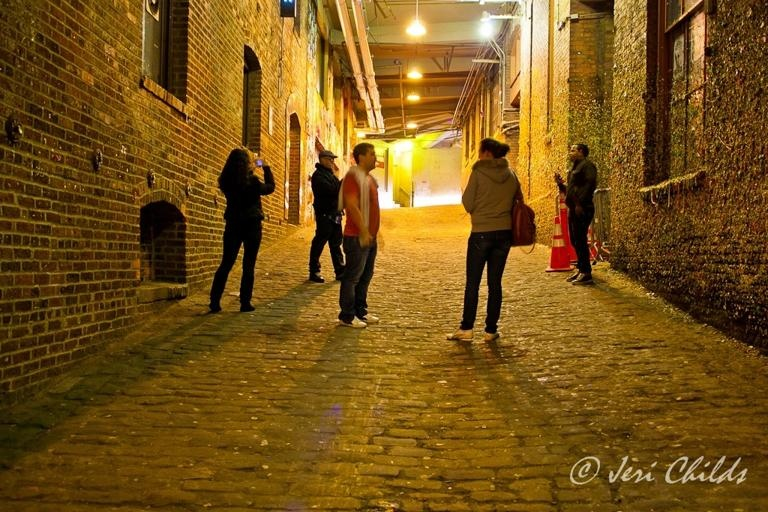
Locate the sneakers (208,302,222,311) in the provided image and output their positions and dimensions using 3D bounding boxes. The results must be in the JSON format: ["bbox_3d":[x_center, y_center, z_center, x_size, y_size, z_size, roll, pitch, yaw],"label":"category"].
[{"bbox_3d":[-2.331,0.699,7.834,0.137,0.112,0.125,1,-3,-4],"label":"sneakers"}]

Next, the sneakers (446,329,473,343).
[{"bbox_3d":[0.926,0.978,6.938,0.297,0.113,0.137,3,2,15],"label":"sneakers"}]

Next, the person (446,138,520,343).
[{"bbox_3d":[1.223,-0.065,6.913,0.827,2.192,0.504,-1,13,-3],"label":"person"}]

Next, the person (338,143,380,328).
[{"bbox_3d":[-0.345,-0.256,7.362,0.532,2.356,0.729,0,13,4],"label":"person"}]

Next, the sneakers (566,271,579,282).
[{"bbox_3d":[3.181,0.364,9.599,0.121,0.127,0.341,4,0,-19],"label":"sneakers"}]

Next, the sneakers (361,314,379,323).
[{"bbox_3d":[-0.195,0.848,7.661,0.210,0.075,0.106,0,-1,14],"label":"sneakers"}]

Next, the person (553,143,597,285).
[{"bbox_3d":[3.262,-0.705,9.427,0.448,2.257,0.710,1,13,4],"label":"person"}]

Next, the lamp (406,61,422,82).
[{"bbox_3d":[1.651,-9.554,29.480,0.762,0.719,0.719,3,-12,-21],"label":"lamp"}]

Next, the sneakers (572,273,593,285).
[{"bbox_3d":[3.283,0.384,9.359,0.386,0.149,0.132,1,-1,-1],"label":"sneakers"}]

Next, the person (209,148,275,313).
[{"bbox_3d":[-1.988,-0.359,7.863,0.949,2.210,0.616,-3,13,-10],"label":"person"}]

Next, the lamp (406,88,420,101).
[{"bbox_3d":[1.742,-9.597,33.971,0.801,0.563,1.986,0,12,2],"label":"lamp"}]

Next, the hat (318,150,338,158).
[{"bbox_3d":[-0.994,-1.779,9.939,0.403,0.174,0.278,1,6,-8],"label":"hat"}]

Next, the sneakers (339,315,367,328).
[{"bbox_3d":[-0.385,0.862,7.442,0.374,0.134,0.132,0,-2,5],"label":"sneakers"}]

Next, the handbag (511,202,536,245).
[{"bbox_3d":[1.648,-0.372,6.732,0.264,0.558,0.337,2,13,11],"label":"handbag"}]
